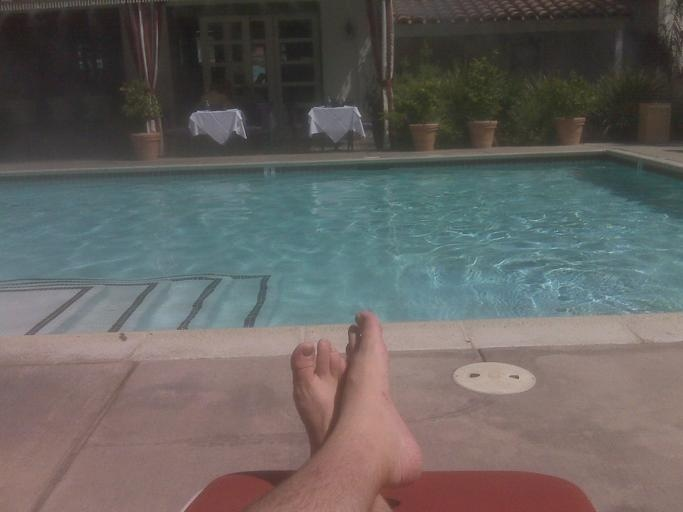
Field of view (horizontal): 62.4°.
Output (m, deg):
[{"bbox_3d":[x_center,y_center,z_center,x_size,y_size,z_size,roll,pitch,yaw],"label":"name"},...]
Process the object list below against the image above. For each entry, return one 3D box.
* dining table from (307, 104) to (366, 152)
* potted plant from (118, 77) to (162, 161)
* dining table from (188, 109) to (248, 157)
[{"bbox_3d":[-0.149,-2.366,10.144,0.751,0.445,0.791,-1,32,2],"label":"dining table"},{"bbox_3d":[-3.735,-2.585,10.502,0.605,1.338,2.239,-6,19,-19],"label":"potted plant"},{"bbox_3d":[-2.372,-2.368,10.458,1.121,0.581,1.213,0,11,4],"label":"dining table"}]
